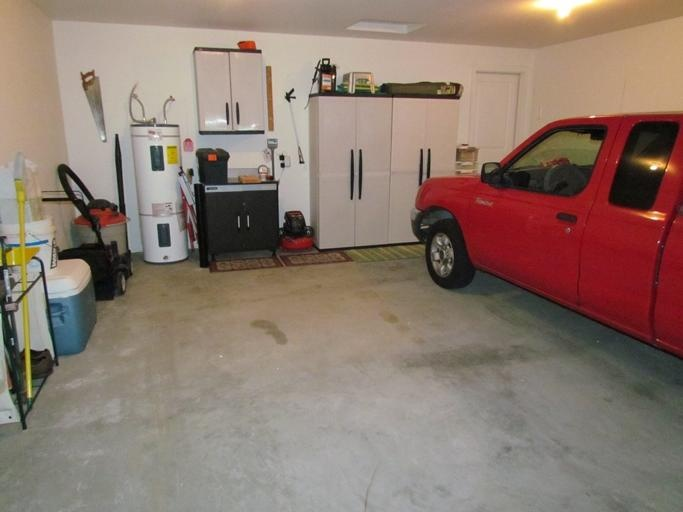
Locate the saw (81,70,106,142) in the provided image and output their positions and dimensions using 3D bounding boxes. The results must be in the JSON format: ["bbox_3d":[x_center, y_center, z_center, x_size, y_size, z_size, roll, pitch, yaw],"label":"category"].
[{"bbox_3d":[-3.296,-2.008,6.365,0.224,0.909,0.086,-9,17,-26],"label":"saw"}]

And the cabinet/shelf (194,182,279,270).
[{"bbox_3d":[-1.426,-0.490,6.644,1.028,1.003,0.610,-4,14,-22],"label":"cabinet/shelf"}]

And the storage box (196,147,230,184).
[{"bbox_3d":[-1.690,-1.183,6.285,0.370,0.454,0.361,-7,17,-18],"label":"storage box"}]

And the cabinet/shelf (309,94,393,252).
[{"bbox_3d":[0.123,-1.296,7.167,1.079,2.245,0.739,-4,16,-15],"label":"cabinet/shelf"}]

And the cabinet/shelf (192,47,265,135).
[{"bbox_3d":[-1.487,-2.215,6.364,0.907,1.150,0.546,0,12,-19],"label":"cabinet/shelf"}]

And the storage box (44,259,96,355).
[{"bbox_3d":[-2.327,0.449,4.195,0.397,0.704,0.550,1,11,-13],"label":"storage box"}]

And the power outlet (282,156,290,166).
[{"bbox_3d":[-0.817,-1.424,7.119,0.156,0.175,0.115,-2,9,-15],"label":"power outlet"}]
